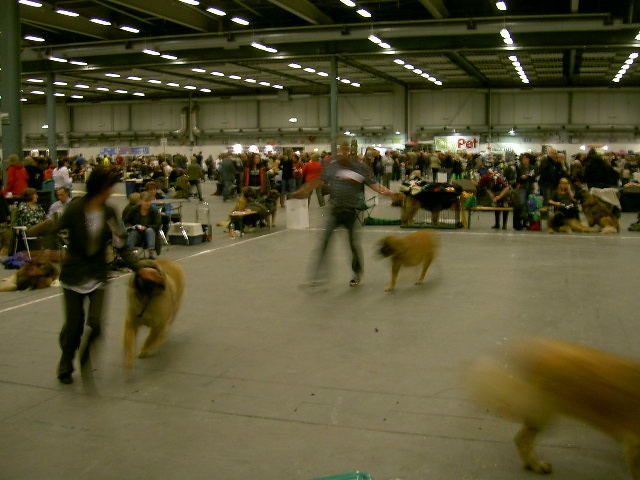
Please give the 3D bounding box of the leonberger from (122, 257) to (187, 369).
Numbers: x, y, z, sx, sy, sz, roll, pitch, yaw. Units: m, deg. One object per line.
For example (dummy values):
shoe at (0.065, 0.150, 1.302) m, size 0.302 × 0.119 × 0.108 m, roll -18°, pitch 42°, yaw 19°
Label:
leonberger at (-1.797, 0.715, 6.083) m, size 0.507 × 1.194 × 0.979 m, roll -2°, pitch 11°, yaw -7°
